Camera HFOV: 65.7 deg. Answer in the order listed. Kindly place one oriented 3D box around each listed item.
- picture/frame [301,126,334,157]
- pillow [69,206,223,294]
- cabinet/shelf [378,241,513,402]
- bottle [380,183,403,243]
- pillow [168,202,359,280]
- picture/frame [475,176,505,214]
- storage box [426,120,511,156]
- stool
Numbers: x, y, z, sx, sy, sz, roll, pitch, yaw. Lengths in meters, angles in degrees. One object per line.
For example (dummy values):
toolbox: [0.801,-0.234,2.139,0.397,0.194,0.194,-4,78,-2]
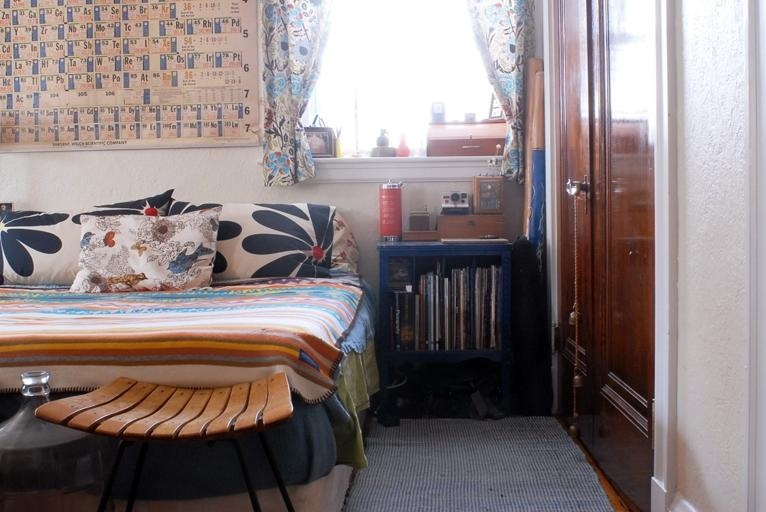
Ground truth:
picture/frame: [-0.358,-0.649,3.419,0.249,0.220,0.146,-1,4,-3]
pillow: [-1.122,-0.019,2.828,0.616,0.384,0.176,-2,3,-21]
cabinet/shelf: [0.321,0.333,3.038,0.786,0.977,0.399,-1,1,-2]
bottle: [0.036,-0.245,3.271,0.116,0.299,0.213,-2,11,-3]
pillow: [-0.536,-0.087,3.045,0.953,0.423,0.365,0,9,-17]
picture/frame: [0.583,-0.348,3.297,0.148,0.211,0.149,2,20,12]
storage box: [0.468,-0.666,3.402,0.439,0.195,0.119,0,12,6]
stool: [-0.595,0.462,1.730,0.700,0.490,0.429,0,-1,-10]
